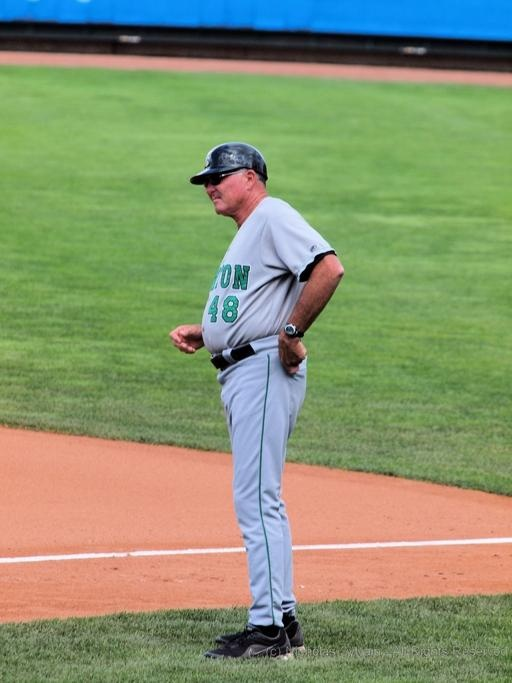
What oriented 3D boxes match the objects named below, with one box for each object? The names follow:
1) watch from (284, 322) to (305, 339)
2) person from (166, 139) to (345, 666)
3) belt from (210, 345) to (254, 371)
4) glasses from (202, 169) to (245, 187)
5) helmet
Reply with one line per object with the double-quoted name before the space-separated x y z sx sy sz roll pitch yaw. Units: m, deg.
"watch" 0.255 -0.066 11.380 0.090 0.112 0.065 17 55 25
"person" 0.051 0.380 11.520 1.010 3.453 0.627 1 5 15
"belt" -0.160 0.092 11.542 0.219 0.132 0.179 -26 4 -5
"glasses" -0.248 -1.124 11.610 0.164 0.052 0.141 -21 -11 -24
"helmet" -0.159 -1.260 11.764 0.461 0.289 0.391 -1 -1 3
